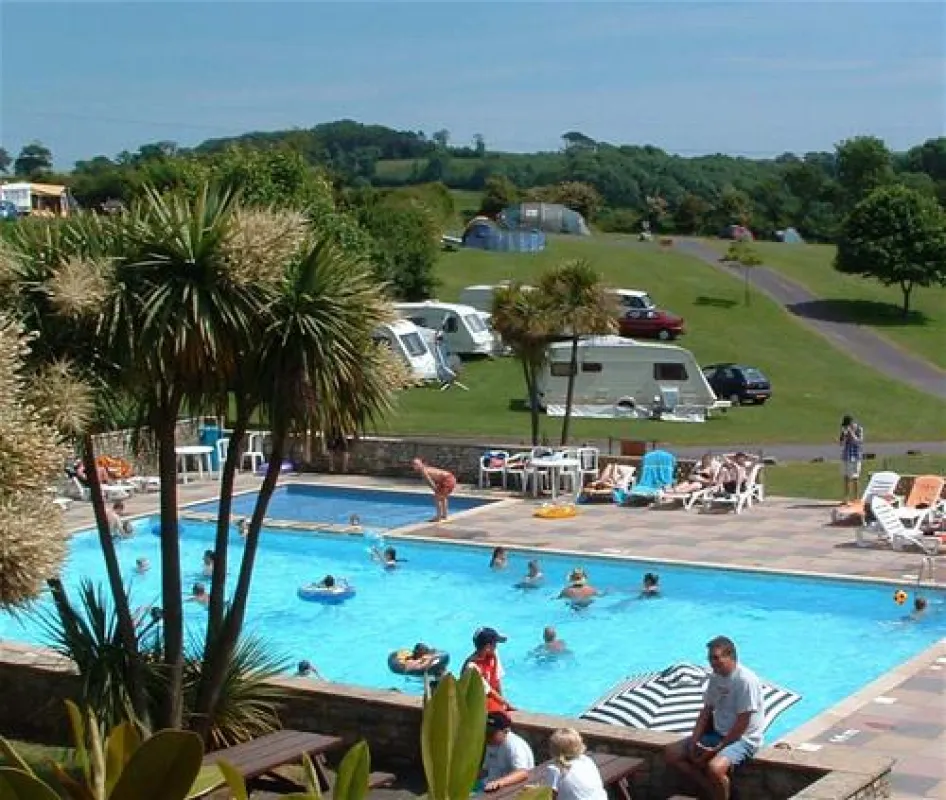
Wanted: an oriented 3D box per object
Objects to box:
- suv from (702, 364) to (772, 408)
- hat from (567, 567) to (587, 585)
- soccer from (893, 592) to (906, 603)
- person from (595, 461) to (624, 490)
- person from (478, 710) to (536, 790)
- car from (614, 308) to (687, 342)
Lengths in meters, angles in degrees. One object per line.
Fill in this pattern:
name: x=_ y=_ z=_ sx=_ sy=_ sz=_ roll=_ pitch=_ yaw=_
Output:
suv: x=9.826 y=-0.558 z=34.165 sx=1.307 sy=0.782 sz=2.423 roll=-8 pitch=14 yaw=-37
hat: x=1.728 y=2.945 z=15.513 sx=0.280 sy=0.321 sz=0.337 roll=-3 pitch=-37 yaw=19
soccer: x=6.412 y=2.950 z=13.912 sx=0.185 sy=0.157 sz=0.178 roll=-5 pitch=-8 yaw=-45
person: x=3.237 y=1.788 z=21.978 sx=0.910 sy=0.406 sz=0.357 roll=-3 pitch=15 yaw=-36
person: x=0.260 y=2.689 z=7.104 sx=0.397 sy=0.655 sz=0.646 roll=-4 pitch=9 yaw=0
car: x=8.415 y=-3.342 z=43.995 sx=4.457 sy=1.151 sz=2.168 roll=2 pitch=8 yaw=3
